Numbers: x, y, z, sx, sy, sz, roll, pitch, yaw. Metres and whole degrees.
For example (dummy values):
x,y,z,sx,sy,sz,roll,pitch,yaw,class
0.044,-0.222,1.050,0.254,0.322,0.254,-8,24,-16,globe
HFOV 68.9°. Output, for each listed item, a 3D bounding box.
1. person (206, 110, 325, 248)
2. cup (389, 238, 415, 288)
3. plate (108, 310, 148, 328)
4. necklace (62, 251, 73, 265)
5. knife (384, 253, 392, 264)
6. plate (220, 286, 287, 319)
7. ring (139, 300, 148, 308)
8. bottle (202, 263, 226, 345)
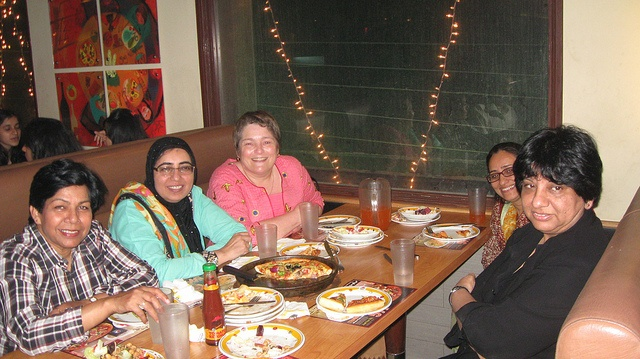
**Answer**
x,y,z,sx,sy,sz,roll,pitch,yaw,class
-0.402,0.008,3.436,0.748,0.819,0.902,25,29,36,person
0.450,0.451,2.527,0.120,0.248,0.101,-2,16,8,cup
-0.937,0.684,2.274,0.125,0.018,0.115,4,5,0,plate
-1.350,0.420,2.499,0.065,0.065,0.071,-2,6,-28,necklace
0.399,0.471,2.756,0.023,0.008,0.111,-27,21,-8,knife
-0.338,0.616,2.350,0.180,0.021,0.184,16,20,42,plate
-0.828,0.588,2.192,0.036,0.010,0.033,-1,17,0,ring
-0.505,0.572,2.136,0.104,0.405,0.086,-4,16,2,bottle
